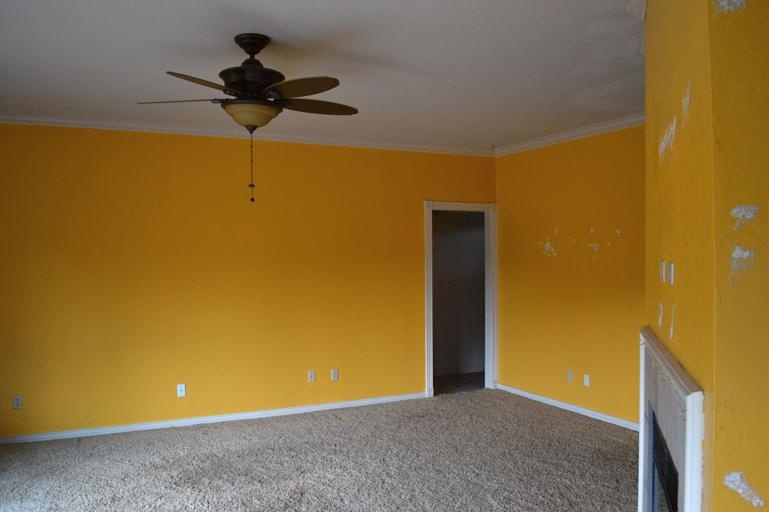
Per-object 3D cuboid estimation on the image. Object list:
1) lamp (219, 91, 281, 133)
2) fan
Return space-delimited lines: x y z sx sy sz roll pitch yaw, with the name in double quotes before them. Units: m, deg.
"lamp" -0.873 -0.894 3.816 0.388 0.176 0.408 4 5 42
"fan" -0.724 -1.054 3.659 0.758 0.275 0.820 -1 -7 33
